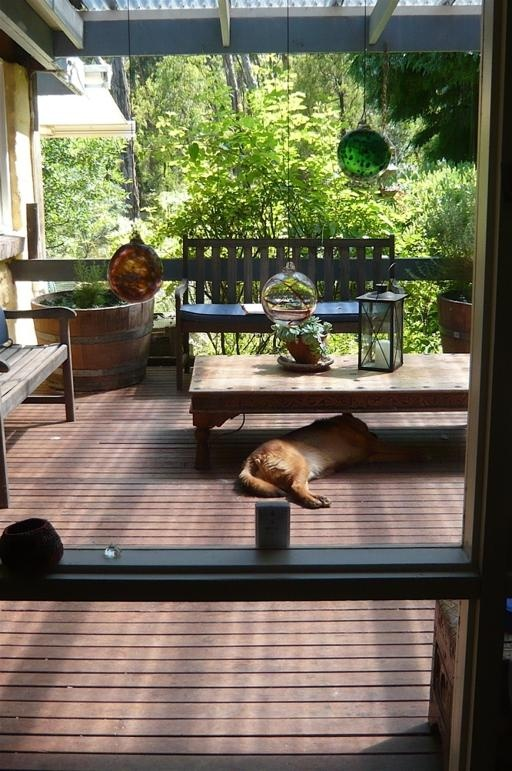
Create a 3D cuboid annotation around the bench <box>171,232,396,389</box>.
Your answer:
[{"bbox_3d":[0.254,-0.565,4.646,1.665,1.188,0.619,0,14,3],"label":"bench"}]

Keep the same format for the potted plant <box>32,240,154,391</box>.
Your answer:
[{"bbox_3d":[-1.127,-0.490,4.427,0.821,0.653,0.967,21,34,16],"label":"potted plant"}]

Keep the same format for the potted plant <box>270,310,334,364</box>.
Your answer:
[{"bbox_3d":[0.218,-0.227,3.225,0.291,0.259,0.319,-12,19,-6],"label":"potted plant"}]

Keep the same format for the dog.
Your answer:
[{"bbox_3d":[0.300,0.303,2.810,0.686,0.262,0.380,-19,-3,-37],"label":"dog"}]
